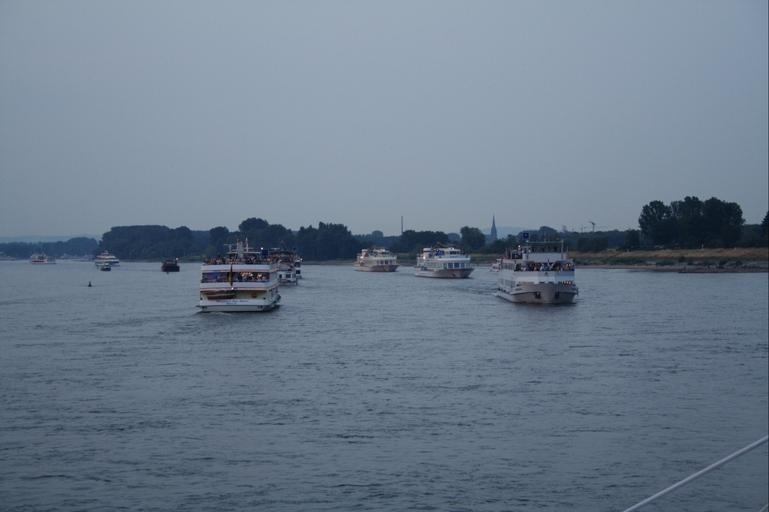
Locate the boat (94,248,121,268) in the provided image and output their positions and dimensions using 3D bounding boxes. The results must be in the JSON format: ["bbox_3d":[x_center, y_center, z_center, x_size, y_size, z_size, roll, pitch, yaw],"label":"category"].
[{"bbox_3d":[-65.829,0.733,269.046,4.325,6.404,20.588,0,-4,-21],"label":"boat"}]
